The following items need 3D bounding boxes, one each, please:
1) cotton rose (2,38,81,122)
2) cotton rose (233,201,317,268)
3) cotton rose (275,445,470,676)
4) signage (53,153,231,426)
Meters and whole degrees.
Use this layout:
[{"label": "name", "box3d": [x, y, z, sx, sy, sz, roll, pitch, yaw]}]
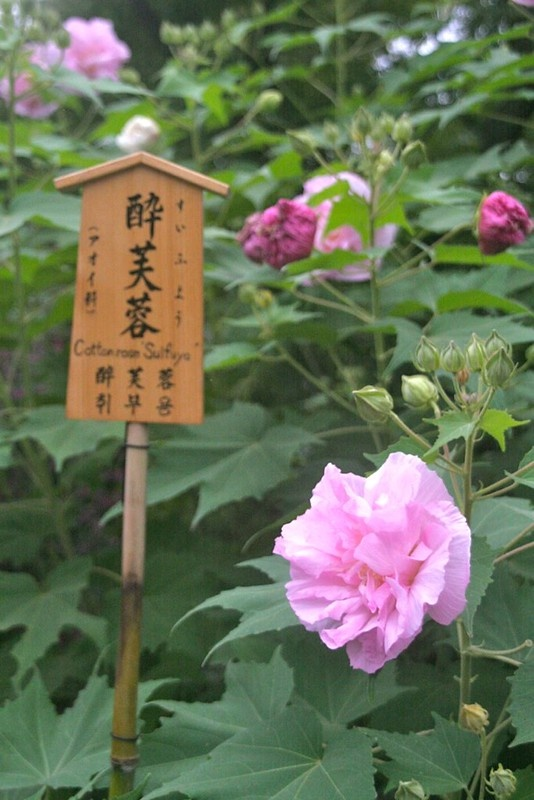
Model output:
[{"label": "cotton rose", "box3d": [-0.421, -0.571, 1.635, 0.172, 0.149, 0.061, -8, 37, -22]}, {"label": "cotton rose", "box3d": [0.010, -0.247, 1.356, 0.067, 0.100, 0.152, -14, 15, -34]}, {"label": "cotton rose", "box3d": [0.116, 0.189, 1.032, 0.233, 0.242, 0.141, -3, 14, 9]}, {"label": "signage", "box3d": [-0.169, -0.153, 1.241, 0.229, 0.368, 0.121, -2, 15, 13]}]
